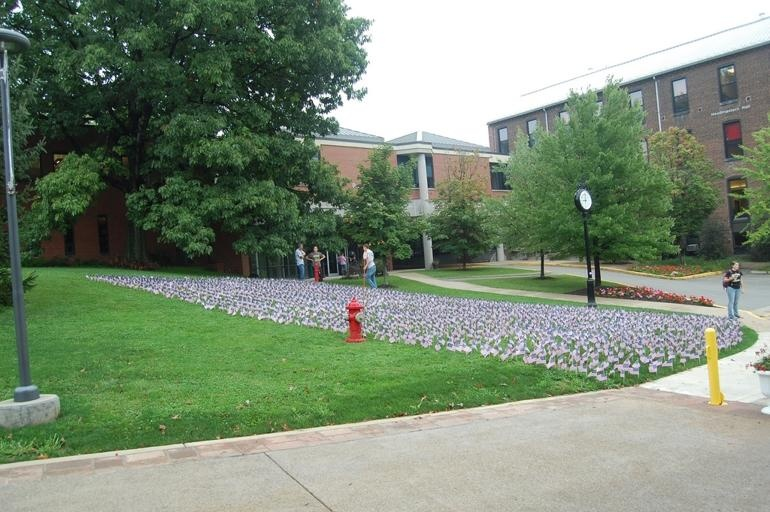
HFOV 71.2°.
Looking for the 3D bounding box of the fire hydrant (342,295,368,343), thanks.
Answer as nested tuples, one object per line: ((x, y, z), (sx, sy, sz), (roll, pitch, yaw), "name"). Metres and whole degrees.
((-0.792, 1.657, 14.364), (0.482, 1.179, 0.883), (0, 10, -2), "fire hydrant")

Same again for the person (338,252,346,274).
((-3.130, 0.672, 39.347), (0.593, 1.647, 1.876), (0, 10, -7), "person")
